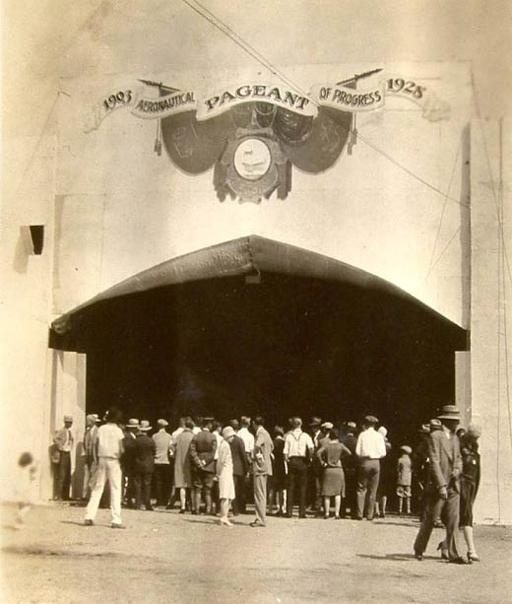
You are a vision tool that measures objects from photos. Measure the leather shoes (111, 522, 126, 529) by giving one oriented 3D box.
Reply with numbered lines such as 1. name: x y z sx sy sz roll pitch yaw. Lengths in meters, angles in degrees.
1. leather shoes: -1.881 3.086 20.412 0.194 0.089 0.073 3 -1 -15

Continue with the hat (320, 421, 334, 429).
1. hat: 1.101 1.870 22.207 0.214 0.072 0.227 2 0 18

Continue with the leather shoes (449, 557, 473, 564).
1. leather shoes: 2.710 3.426 19.597 0.265 0.118 0.104 0 -5 6

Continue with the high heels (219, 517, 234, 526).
1. high heels: -0.378 3.122 20.978 0.231 0.122 0.084 11 -5 -16

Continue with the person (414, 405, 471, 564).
1. person: 2.428 2.359 19.371 0.590 1.987 0.896 0 -13 8

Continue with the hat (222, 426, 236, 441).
1. hat: -0.343 1.885 21.129 0.197 0.214 0.157 7 -2 -22

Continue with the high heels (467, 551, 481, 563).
1. high heels: 2.877 3.370 19.560 0.084 0.113 0.262 -1 -19 -28

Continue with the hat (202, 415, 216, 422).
1. hat: -0.794 1.969 25.058 0.359 0.096 0.363 0 -6 10

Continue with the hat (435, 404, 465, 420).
1. hat: 2.538 1.480 19.527 0.284 0.159 0.291 -6 -7 27
